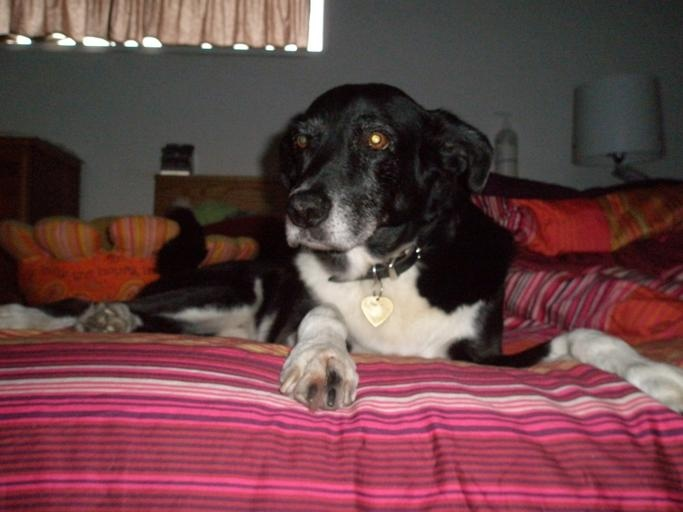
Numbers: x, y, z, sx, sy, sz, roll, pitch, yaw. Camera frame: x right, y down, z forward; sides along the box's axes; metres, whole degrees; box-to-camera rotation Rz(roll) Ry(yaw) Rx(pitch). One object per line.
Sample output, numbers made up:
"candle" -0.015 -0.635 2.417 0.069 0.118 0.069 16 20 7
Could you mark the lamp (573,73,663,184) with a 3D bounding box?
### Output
"lamp" 2.131 -1.029 5.172 0.617 0.617 0.635 -1 -7 19
